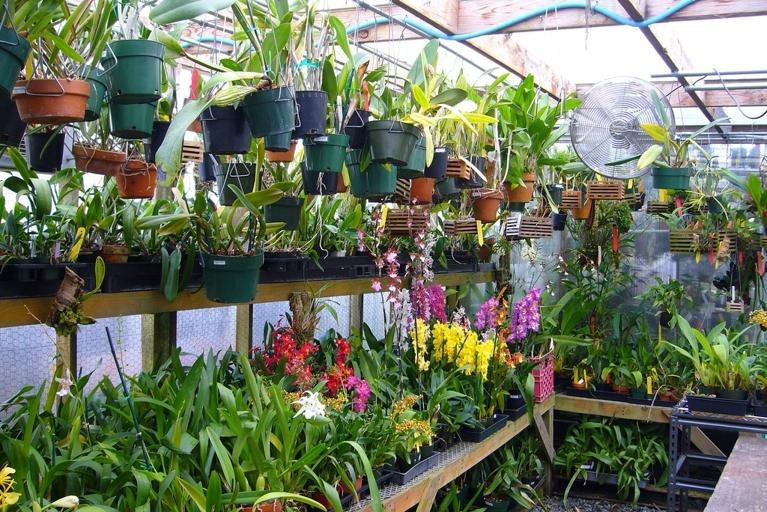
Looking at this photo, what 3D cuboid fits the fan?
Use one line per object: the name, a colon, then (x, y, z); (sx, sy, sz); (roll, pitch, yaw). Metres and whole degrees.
fan: (1.517, -0.829, 4.236); (0.611, 0.640, 0.122); (2, 4, -1)
